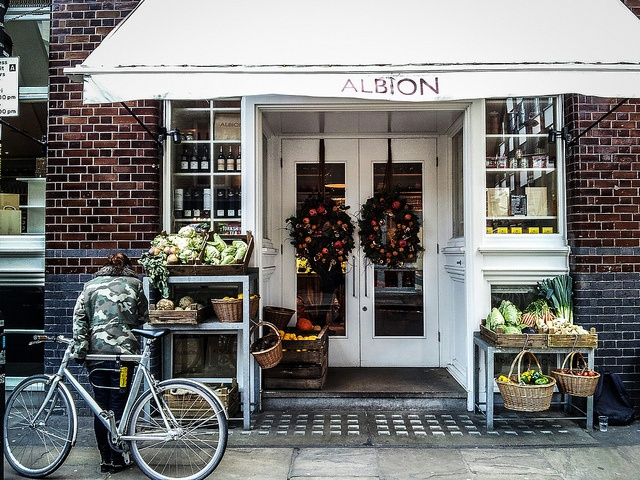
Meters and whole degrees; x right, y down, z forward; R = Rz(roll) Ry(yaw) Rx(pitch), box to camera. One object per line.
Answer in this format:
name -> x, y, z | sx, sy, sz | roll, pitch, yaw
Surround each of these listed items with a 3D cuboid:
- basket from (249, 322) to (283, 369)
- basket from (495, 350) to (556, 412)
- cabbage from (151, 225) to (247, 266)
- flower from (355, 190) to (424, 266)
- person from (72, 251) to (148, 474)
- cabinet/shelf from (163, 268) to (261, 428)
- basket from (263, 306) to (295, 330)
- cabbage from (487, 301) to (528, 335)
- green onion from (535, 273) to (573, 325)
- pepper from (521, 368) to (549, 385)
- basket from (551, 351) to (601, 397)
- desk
basket -> -0.600, 1.207, 8.468 | 0.537, 0.605, 0.553 | -2, 3, 3
basket -> 2.278, 1.573, 8.129 | 0.737, 0.640, 0.630 | -1, 0, 13
cabbage -> -1.399, 0.073, 8.310 | 1.133, 0.435, 0.403 | -1, 0, -6
flower -> 0.959, -0.164, 9.737 | 0.937, 1.015, 0.241 | 0, 4, -1
person -> -2.183, 1.204, 7.436 | 0.778, 2.020, 0.869 | 0, -2, -3
cabinet/shelf -> -1.226, 1.147, 8.293 | 1.029, 1.748, 0.837 | 2, 2, 7
basket -> -0.546, 1.004, 9.119 | 0.314, 0.192, 0.318 | -1, -7, 40
cabbage -> 2.163, 0.914, 8.332 | 0.361, 0.350, 0.170 | 2, -11, 3
green onion -> 2.813, 0.828, 8.609 | 0.524, 0.718, 0.439 | -2, -11, -8
pepper -> 2.411, 1.525, 7.981 | 0.166, 0.078, 0.184 | -2, 4, -38
basket -> 2.912, 1.520, 8.146 | 0.506, 0.385, 0.436 | -1, 0, 16
desk -> 2.383, 1.616, 8.102 | 1.467, 1.182, 0.912 | 0, -2, 1
